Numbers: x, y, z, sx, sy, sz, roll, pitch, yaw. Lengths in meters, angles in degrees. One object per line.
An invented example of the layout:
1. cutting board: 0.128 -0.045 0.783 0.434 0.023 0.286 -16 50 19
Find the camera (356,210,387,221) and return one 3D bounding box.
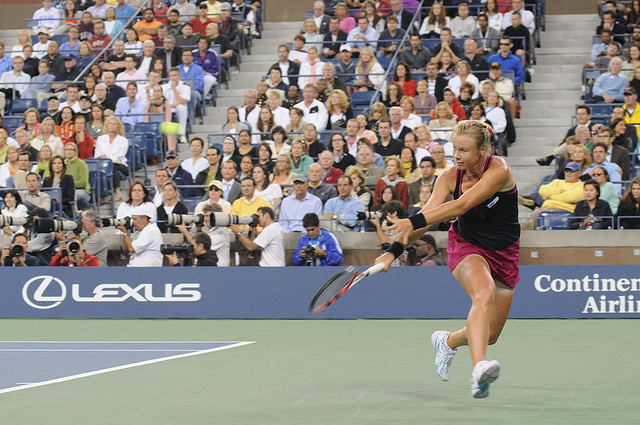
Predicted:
1. camera: 0.864 0.045 20.999 0.566 0.135 0.174 -2 5 -34

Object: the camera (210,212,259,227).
1. camera: -1.495 0.113 21.251 0.268 0.256 0.987 -2 -5 44

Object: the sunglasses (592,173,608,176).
1. sunglasses: 4.849 -0.665 21.879 0.233 0.050 0.078 1 13 10

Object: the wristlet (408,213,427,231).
1. wristlet: 1.262 0.123 16.354 0.231 0.225 0.181 2 14 13

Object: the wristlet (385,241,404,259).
1. wristlet: 0.986 0.503 16.549 0.181 0.187 0.225 -43 -2 -8

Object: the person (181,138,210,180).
1. person: -2.389 -0.994 24.330 0.652 0.854 0.515 0 8 2

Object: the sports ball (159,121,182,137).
1. sports ball: -3.012 -1.681 25.336 0.333 0.169 0.311 5 2 0

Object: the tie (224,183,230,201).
1. tie: -1.703 -0.389 23.028 0.100 0.266 0.214 -3 14 -5

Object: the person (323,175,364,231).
1. person: 0.406 -0.157 21.921 0.707 0.913 0.542 -2 14 -3

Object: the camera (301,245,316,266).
1. camera: -0.225 0.724 21.327 0.224 0.297 0.143 -2 2 5

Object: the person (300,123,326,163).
1. person: -0.208 -1.254 23.831 0.606 0.826 0.537 2 -1 16

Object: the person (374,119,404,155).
1. person: 1.238 -1.410 23.651 0.803 0.688 0.414 0 5 25

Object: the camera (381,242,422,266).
1. camera: 1.507 0.768 21.395 0.402 0.496 0.203 9 1 23

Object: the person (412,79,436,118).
1. person: 2.042 -2.265 25.201 0.621 0.771 0.485 -2 6 9

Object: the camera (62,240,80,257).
1. camera: -4.287 0.610 21.635 0.333 0.310 0.213 10 17 39

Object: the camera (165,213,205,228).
1. camera: -2.179 0.135 21.531 0.232 0.294 0.928 6 3 45

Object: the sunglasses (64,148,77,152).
1. sunglasses: -4.667 -1.168 23.605 0.205 0.089 0.096 -5 14 -18

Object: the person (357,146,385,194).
1. person: 0.888 -0.795 22.779 0.565 0.653 0.839 -8 -2 9

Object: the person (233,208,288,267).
1. person: -1.043 0.688 21.785 0.975 1.499 0.781 -3 -1 -3

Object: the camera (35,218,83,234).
1. camera: -4.383 0.227 21.171 0.239 0.202 0.814 -7 -8 28

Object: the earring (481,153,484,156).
1. earring: 2.111 -0.760 16.479 0.025 0.040 0.052 8 16 33

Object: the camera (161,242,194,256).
1. camera: -2.416 0.607 21.407 0.524 0.193 0.192 1 -12 -27

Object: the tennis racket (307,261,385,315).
1. tennis racket: 0.420 1.201 19.811 0.555 0.148 1.704 -35 -11 21
